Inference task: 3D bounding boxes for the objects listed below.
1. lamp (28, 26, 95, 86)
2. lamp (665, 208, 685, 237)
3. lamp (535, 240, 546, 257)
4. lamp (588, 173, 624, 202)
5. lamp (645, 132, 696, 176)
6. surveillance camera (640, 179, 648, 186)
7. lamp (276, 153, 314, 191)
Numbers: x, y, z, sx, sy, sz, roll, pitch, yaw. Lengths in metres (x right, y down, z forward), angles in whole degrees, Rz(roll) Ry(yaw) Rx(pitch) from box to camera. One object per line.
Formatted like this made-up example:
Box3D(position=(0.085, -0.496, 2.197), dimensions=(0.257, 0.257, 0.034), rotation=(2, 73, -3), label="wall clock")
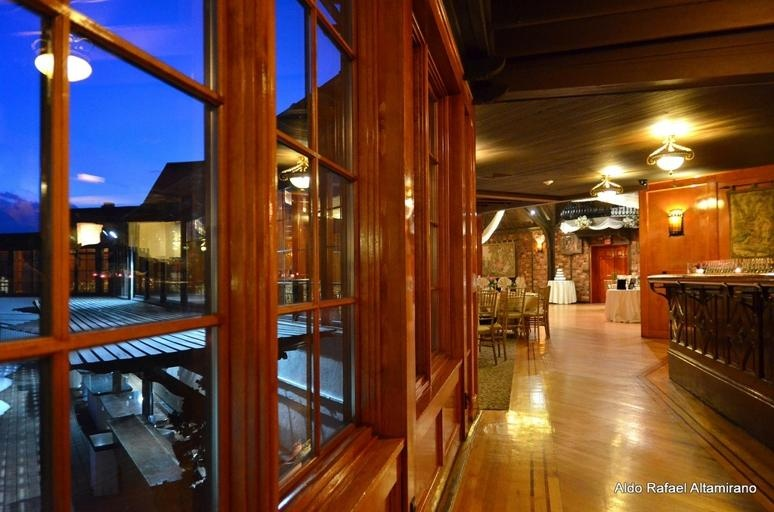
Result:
Box3D(position=(-0.782, -0.481, 1.352), dimensions=(0.120, 0.110, 0.031), rotation=(-8, 36, -40), label="lamp")
Box3D(position=(4.023, -0.470, 7.938), dimensions=(0.304, 0.532, 0.315), rotation=(-1, -2, 18), label="lamp")
Box3D(position=(4.621, -0.221, 17.154), dimensions=(0.313, 0.587, 0.316), rotation=(4, -6, -9), label="lamp")
Box3D(position=(2.732, -0.845, 7.281), dimensions=(0.471, 0.472, 0.490), rotation=(-1, 2, 35), label="lamp")
Box3D(position=(2.734, -0.991, 5.513), dimensions=(0.450, 0.395, 0.458), rotation=(-13, 7, -32), label="lamp")
Box3D(position=(3.664, -1.068, 8.167), dimensions=(0.100, 0.075, 0.099), rotation=(-6, 8, -34), label="surveillance camera")
Box3D(position=(-0.293, -0.303, 1.899), dimensions=(0.110, 0.106, 0.133), rotation=(18, 7, -37), label="lamp")
